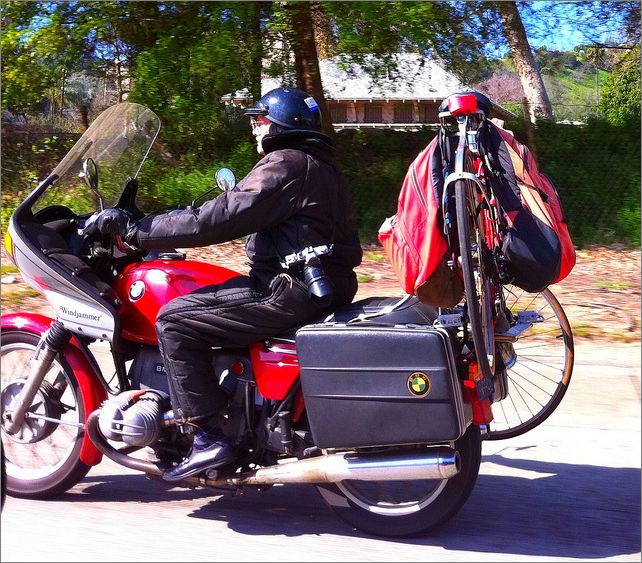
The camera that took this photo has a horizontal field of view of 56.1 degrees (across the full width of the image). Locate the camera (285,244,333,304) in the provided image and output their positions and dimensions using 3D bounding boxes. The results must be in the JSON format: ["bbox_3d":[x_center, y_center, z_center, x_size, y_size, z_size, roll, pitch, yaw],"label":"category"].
[{"bbox_3d":[-0.045,-0.051,2.733,0.264,0.235,0.102,-20,-18,-3],"label":"camera"}]

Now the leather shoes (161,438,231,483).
[{"bbox_3d":[-0.584,0.881,3.015,0.421,0.149,0.137,-18,-9,12],"label":"leather shoes"}]

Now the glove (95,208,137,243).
[{"bbox_3d":[-1.049,-0.283,3.078,0.168,0.149,0.122,-14,28,3],"label":"glove"}]

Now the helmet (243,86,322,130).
[{"bbox_3d":[-0.195,-0.859,3.065,0.334,0.154,0.225,6,12,-1],"label":"helmet"}]

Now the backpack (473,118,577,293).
[{"bbox_3d":[0.857,-0.323,2.533,0.353,0.740,0.383,2,6,29],"label":"backpack"}]

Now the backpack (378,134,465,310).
[{"bbox_3d":[0.310,-0.254,2.625,0.290,0.633,0.503,12,24,36],"label":"backpack"}]

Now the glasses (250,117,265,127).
[{"bbox_3d":[-0.323,-0.833,3.144,0.047,0.046,0.088,-4,10,-36],"label":"glasses"}]

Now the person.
[{"bbox_3d":[-0.421,-0.004,3.095,1.105,1.984,0.629,1,5,17],"label":"person"}]
